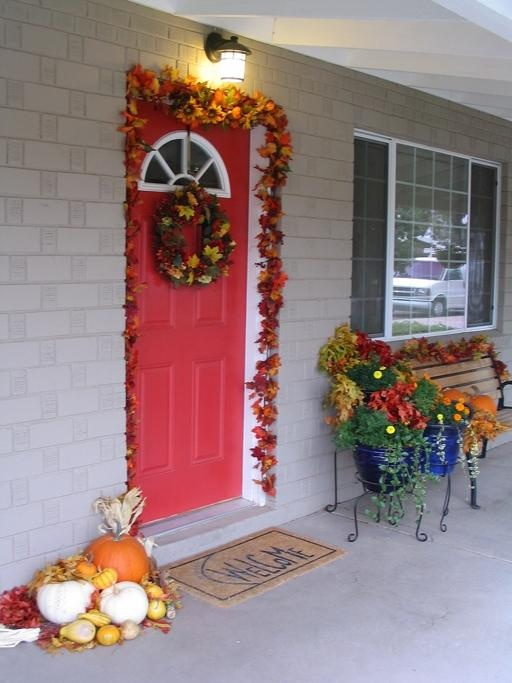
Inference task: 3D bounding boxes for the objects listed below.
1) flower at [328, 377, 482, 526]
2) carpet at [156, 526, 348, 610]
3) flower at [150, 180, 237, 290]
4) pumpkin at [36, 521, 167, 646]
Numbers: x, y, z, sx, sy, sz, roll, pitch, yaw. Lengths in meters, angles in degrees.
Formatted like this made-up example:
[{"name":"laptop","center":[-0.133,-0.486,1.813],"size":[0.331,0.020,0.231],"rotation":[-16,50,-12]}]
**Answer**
[{"name":"flower","center":[0.945,0.673,3.514],"size":[0.531,0.972,0.828],"rotation":[4,3,40]},{"name":"carpet","center":[-0.007,1.151,3.049],"size":[0.532,0.018,0.957],"rotation":[4,3,42]},{"name":"flower","center":[-0.325,-0.594,3.243],"size":[0.161,0.579,0.527],"rotation":[5,3,45]},{"name":"pumpkin","center":[-0.620,1.013,2.440],"size":[0.575,0.307,0.462],"rotation":[1,2,-20]}]
